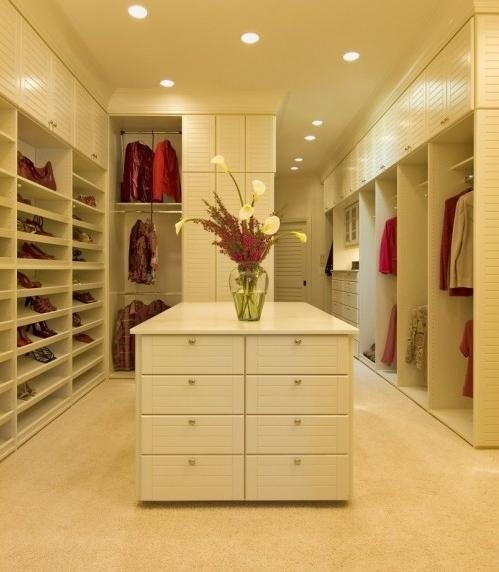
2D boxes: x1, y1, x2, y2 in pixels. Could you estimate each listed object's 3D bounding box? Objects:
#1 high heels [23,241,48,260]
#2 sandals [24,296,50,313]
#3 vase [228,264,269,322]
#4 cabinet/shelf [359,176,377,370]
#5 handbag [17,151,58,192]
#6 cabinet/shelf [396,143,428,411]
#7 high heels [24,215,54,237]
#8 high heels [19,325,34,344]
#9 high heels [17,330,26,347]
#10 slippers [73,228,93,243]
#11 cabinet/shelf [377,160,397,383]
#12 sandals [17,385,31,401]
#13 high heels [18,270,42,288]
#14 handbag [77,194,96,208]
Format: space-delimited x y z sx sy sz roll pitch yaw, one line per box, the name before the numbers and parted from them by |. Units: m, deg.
high heels | -1.490 -0.254 3.055 0.107 0.149 0.320 -1 7 -41
sandals | -1.497 0.133 3.090 0.160 0.078 0.109 11 3 25
vase | -0.004 0.033 2.196 0.223 0.401 0.220 0 2 0
cabinet/shelf | 1.342 -0.138 5.043 0.185 1.929 0.289 0 1 15
handbag | -1.518 -0.786 3.085 0.104 0.210 0.369 1 2 17
cabinet/shelf | 1.434 -0.079 3.876 0.275 1.960 0.114 0 1 6
high heels | -1.527 -0.444 3.215 0.126 0.208 0.443 0 -2 -19
high heels | -1.444 0.317 2.851 0.079 0.132 0.271 0 0 -29
high heels | -1.420 0.327 2.725 0.046 0.088 0.150 0 1 -27
slippers | -1.512 -0.445 3.921 0.079 0.115 0.236 1 0 -38
cabinet/shelf | 1.371 -0.101 4.426 0.206 1.967 0.404 0 1 17
sandals | -1.458 0.688 2.827 0.066 0.049 0.124 0 -2 -16
high heels | -1.534 -0.037 3.028 0.081 0.119 0.245 0 3 -37
handbag | -1.457 -0.756 3.917 0.126 0.067 0.182 3 2 -9
